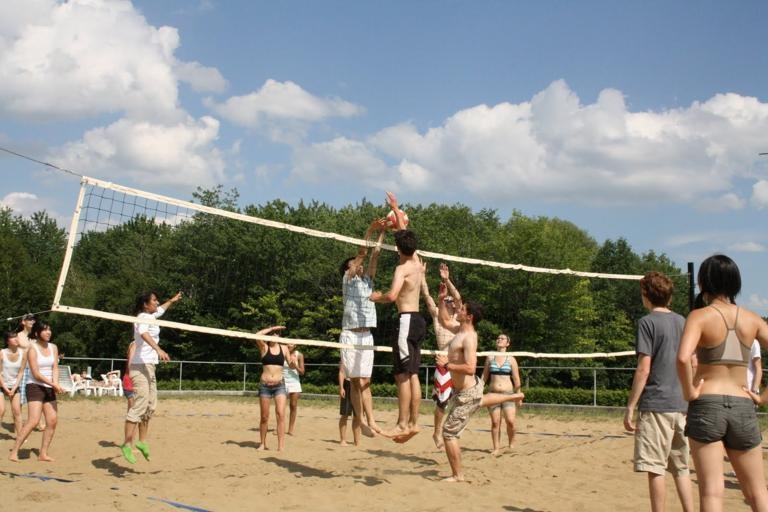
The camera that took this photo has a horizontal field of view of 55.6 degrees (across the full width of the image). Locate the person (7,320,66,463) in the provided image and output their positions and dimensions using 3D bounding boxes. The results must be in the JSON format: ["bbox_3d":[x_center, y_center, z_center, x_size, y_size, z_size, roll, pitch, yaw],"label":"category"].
[{"bbox_3d":[-5.517,2.177,11.521,0.880,2.159,0.713,-1,-5,-28],"label":"person"}]

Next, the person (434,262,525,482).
[{"bbox_3d":[1.288,1.737,11.109,0.996,3.322,1.453,0,-7,3],"label":"person"}]

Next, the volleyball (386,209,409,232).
[{"bbox_3d":[0.158,-0.543,11.288,0.346,0.324,0.183,4,0,-9],"label":"volleyball"}]

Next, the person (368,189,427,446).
[{"bbox_3d":[0.253,0.868,10.582,0.652,3.759,1.078,0,-7,3],"label":"person"}]
